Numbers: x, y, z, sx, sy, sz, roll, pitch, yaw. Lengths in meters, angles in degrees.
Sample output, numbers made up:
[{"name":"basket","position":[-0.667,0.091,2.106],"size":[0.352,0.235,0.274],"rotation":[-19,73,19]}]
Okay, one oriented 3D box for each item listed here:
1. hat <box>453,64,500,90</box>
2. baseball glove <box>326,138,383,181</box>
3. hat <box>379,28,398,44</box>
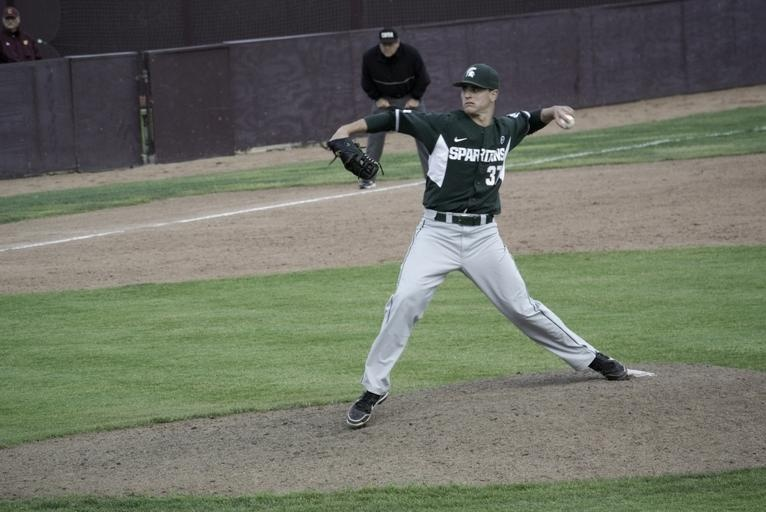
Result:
[{"name":"hat","position":[1.029,-1.892,14.183],"size":[0.469,0.190,0.290],"rotation":[6,7,-7]},{"name":"baseball glove","position":[-0.320,-1.001,14.281],"size":[0.397,0.578,0.223],"rotation":[-39,-12,-39]},{"name":"hat","position":[0.095,-3.157,19.158],"size":[0.242,0.214,0.253],"rotation":[-3,7,-4]}]
